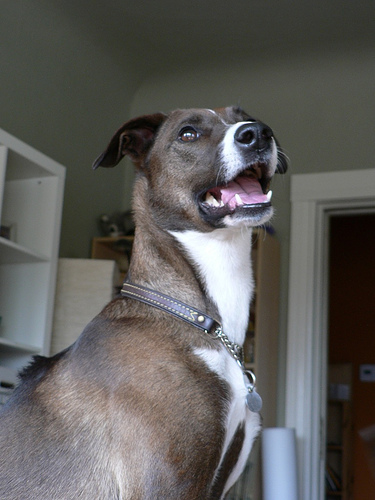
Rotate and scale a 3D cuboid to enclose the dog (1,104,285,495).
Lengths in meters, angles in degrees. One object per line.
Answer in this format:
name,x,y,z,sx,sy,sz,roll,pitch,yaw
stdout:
dog,-0.068,0.023,1.090,0.506,0.855,0.429,9,-4,-11
